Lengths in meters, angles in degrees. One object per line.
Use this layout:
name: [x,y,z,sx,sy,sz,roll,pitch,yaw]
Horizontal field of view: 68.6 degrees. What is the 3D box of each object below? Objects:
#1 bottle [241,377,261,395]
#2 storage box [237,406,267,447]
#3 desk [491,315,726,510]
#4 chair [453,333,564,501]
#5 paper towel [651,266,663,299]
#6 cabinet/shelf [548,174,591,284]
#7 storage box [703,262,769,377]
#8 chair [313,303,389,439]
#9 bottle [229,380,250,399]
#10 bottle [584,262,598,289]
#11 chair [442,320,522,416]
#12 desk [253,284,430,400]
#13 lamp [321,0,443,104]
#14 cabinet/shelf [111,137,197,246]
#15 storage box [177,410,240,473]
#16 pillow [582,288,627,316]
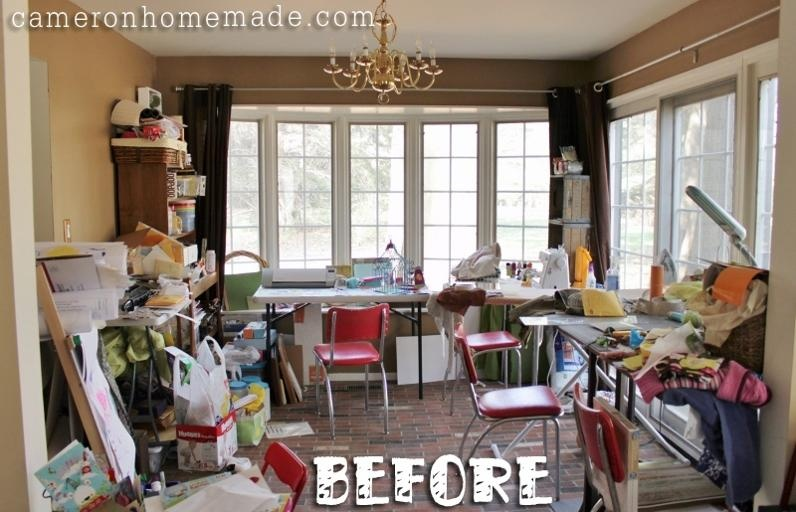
bottle: [-1.243,1.106,4.931,0.121,0.120,0.119,1,6,1]
storage box: [-1.194,1.393,4.750,0.187,0.208,0.321,-1,-4,1]
desk: [1.444,0.718,3.933,1.166,1.169,1.754,0,0,1]
chair: [0.772,1.111,4.117,0.724,0.965,0.522,0,1,4]
paper towel: [1.872,0.205,4.231,0.053,0.177,0.055,3,1,0]
cabinet/shelf: [1.818,-0.379,6.216,0.284,0.924,0.459,-12,17,-7]
storage box: [1.885,0.289,3.306,0.270,0.371,0.265,14,-1,33]
chair: [-0.405,0.880,5.142,0.709,1.067,1.049,-1,14,-5]
bottle: [-1.313,1.108,4.839,0.135,0.121,0.133,1,6,3]
bottle: [1.952,0.201,5.879,0.107,0.261,0.598,5,14,18]
chair: [0.753,0.975,5.143,0.668,0.774,0.467,-6,8,-16]
desk: [-0.488,0.824,6.033,1.666,0.916,1.647,-1,0,6]
lamp: [-0.166,-1.812,5.129,0.918,0.953,0.842,1,4,11]
cabinet/shelf: [-2.265,-0.582,5.331,0.458,0.974,1.078,0,3,0]
storage box: [-1.369,1.357,4.371,0.412,0.370,0.407,0,1,3]
pillow: [1.369,0.313,3.883,0.302,0.167,0.151,-3,14,-14]
